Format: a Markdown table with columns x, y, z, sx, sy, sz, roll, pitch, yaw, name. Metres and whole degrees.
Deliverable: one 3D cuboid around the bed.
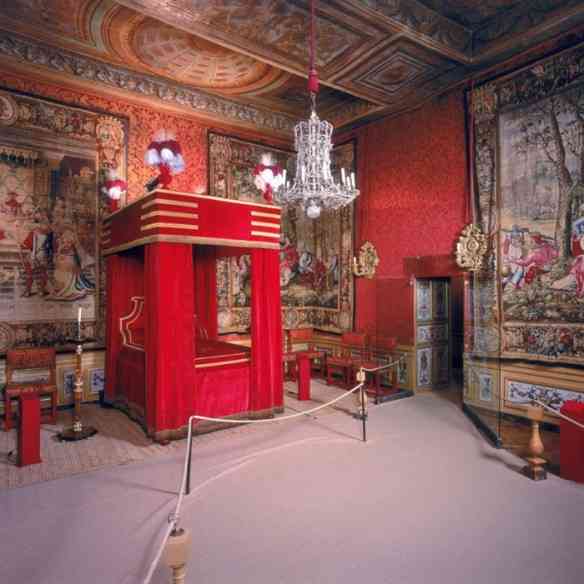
| x | y | z | sx | sy | sz | roll | pitch | yaw | name |
| --- | --- | --- | --- | --- | --- | --- | --- | --- | --- |
| -1.599 | 0.316 | 7.328 | 2.377 | 3.117 | 2.454 | 1 | 0 | -35 | bed |
